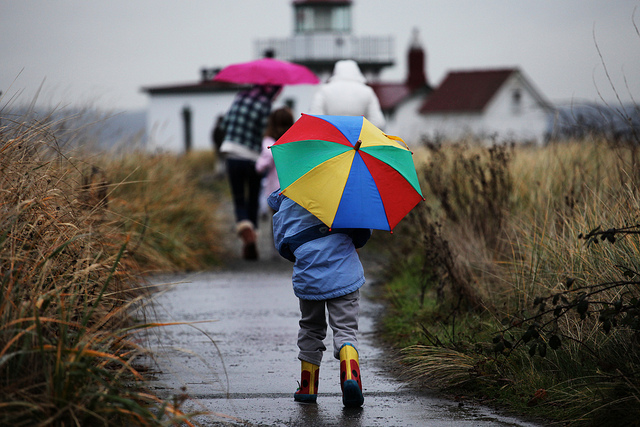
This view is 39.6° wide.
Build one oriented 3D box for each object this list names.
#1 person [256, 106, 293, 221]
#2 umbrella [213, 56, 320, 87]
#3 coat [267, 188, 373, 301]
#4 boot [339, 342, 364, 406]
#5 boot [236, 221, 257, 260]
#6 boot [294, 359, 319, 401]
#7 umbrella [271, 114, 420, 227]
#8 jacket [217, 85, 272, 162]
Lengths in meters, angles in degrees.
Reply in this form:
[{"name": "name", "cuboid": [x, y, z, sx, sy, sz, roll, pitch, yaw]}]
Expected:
[{"name": "person", "cuboid": [-0.576, -0.759, 11.764, 0.545, 0.633, 1.923, -7, -39, -4]}, {"name": "umbrella", "cuboid": [-0.635, -1.794, 11.321, 0.609, 0.315, 2.075, 5, 10, 27]}, {"name": "coat", "cuboid": [0.021, 0.108, 6.828, 0.711, 1.001, 0.531, 3, 22, 24]}, {"name": "boot", "cuboid": [0.235, 1.264, 6.752, 0.163, 0.388, 0.505, -2, -35, 1]}, {"name": "boot", "cuboid": [-0.932, 0.350, 11.558, 0.241, 0.526, 0.276, 1, 7, 5]}, {"name": "boot", "cuboid": [-0.082, 1.280, 6.825, 0.136, 0.322, 0.290, 4, -4, -13]}, {"name": "umbrella", "cuboid": [0.217, -0.324, 6.729, 1.129, 0.805, 0.511, 0, 7, -4]}, {"name": "jacket", "cuboid": [-0.934, -1.165, 11.517, 0.671, 0.986, 0.453, 0, 7, -6]}]
